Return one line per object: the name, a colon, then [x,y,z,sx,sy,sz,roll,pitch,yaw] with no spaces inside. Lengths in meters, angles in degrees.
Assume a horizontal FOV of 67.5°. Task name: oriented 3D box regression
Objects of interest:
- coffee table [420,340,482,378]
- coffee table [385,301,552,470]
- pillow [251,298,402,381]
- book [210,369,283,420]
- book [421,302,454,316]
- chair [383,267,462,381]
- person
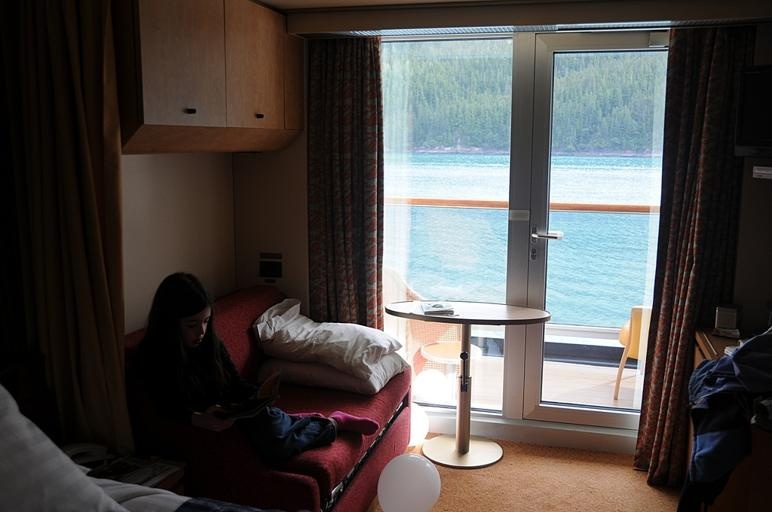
coffee table: [0.433,0.682,4.011,0.304,0.208,0.295,7,21,15]
coffee table: [0.515,0.855,3.879,1.127,0.915,1.086,1,-4,6]
pillow: [-0.364,0.522,3.724,0.859,0.258,0.646,11,13,6]
book: [-0.811,0.700,2.988,0.475,0.148,0.333,-1,-12,-22]
book: [0.321,0.341,3.715,0.204,0.032,0.237,-1,11,0]
chair: [0.191,0.439,4.438,0.677,1.028,0.697,0,4,2]
person: [-0.769,0.541,2.871,0.987,0.926,0.480,1,12,8]
